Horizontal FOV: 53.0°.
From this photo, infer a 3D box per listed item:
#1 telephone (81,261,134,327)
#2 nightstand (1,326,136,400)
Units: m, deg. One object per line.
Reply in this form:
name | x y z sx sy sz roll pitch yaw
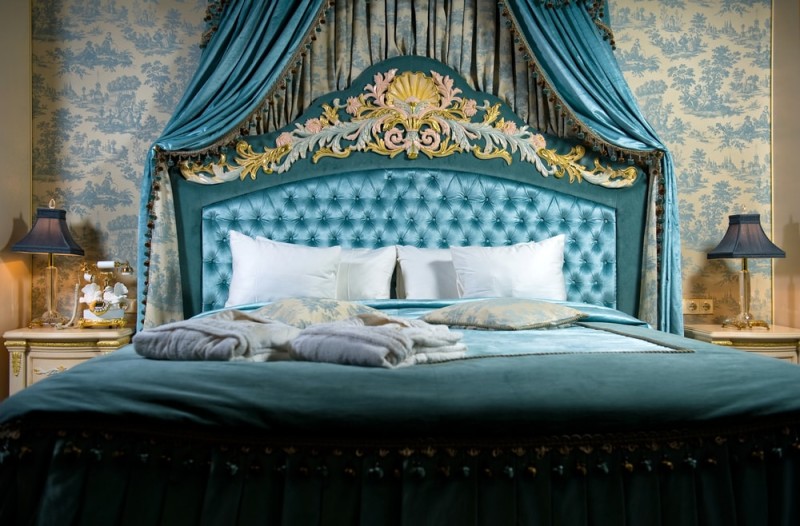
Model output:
telephone | -2.012 0.205 5.436 0.328 0.428 0.313 -2 6 -23
nightstand | -2.195 0.573 5.329 0.668 0.669 0.500 0 -3 -7
